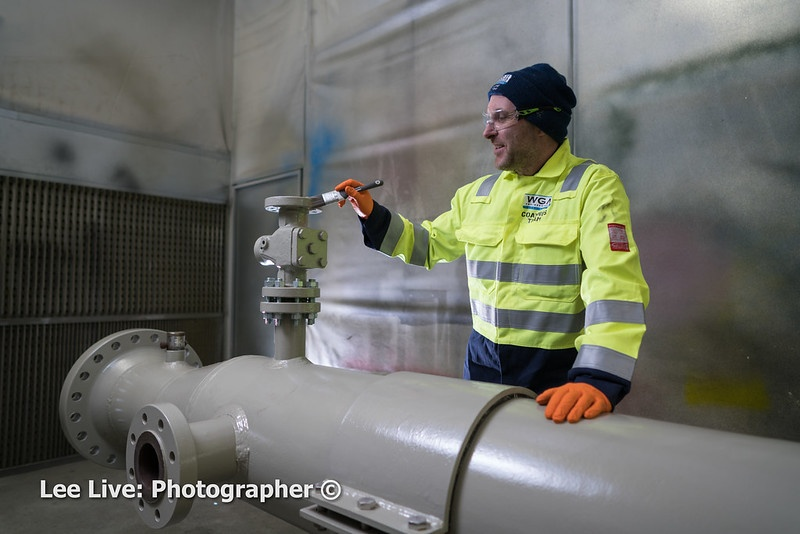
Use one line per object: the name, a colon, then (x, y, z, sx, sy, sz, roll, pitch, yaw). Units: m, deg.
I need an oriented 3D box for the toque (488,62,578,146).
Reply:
toque: (0.487, -0.727, 2.387, 0.370, 0.343, 0.317, -5, 32, -19)

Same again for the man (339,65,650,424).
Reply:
man: (0.431, 0.197, 2.372, 0.941, 1.920, 0.620, 7, 29, 28)

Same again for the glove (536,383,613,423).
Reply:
glove: (0.537, 0.408, 1.739, 0.225, 0.096, 0.110, 2, 2, -16)

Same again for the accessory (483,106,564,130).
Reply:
accessory: (0.457, -0.596, 2.280, 0.165, 0.049, 0.145, -12, 8, -14)
